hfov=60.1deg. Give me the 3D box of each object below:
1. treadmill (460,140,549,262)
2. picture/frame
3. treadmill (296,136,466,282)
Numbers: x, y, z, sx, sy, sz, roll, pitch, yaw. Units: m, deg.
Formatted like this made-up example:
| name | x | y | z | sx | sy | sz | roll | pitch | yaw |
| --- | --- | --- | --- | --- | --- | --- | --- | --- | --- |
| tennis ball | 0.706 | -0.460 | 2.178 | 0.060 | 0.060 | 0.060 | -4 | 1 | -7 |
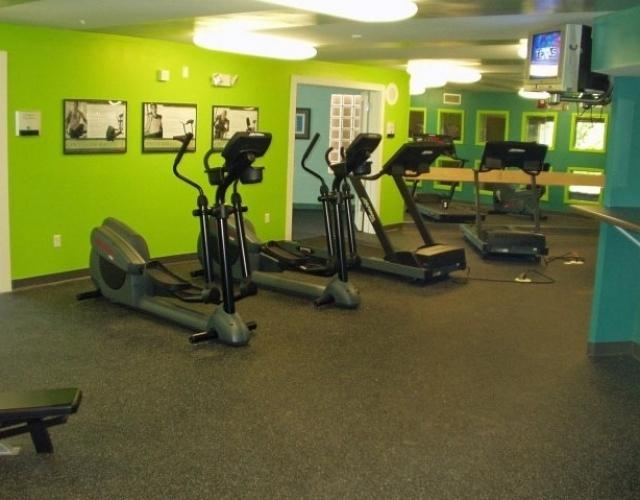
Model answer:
| name | x | y | z | sx | sy | sz | roll | pitch | yaw |
| --- | --- | --- | --- | --- | --- | --- | --- | --- | --- |
| treadmill | 3.068 | -0.930 | 9.050 | 1.194 | 1.658 | 2.775 | 5 | 14 | 14 |
| picture/frame | -2.001 | -1.505 | 6.853 | 0.132 | 0.629 | 2.364 | 16 | 20 | 43 |
| treadmill | 0.823 | -0.602 | 8.097 | 1.677 | 2.273 | 2.796 | -9 | 9 | -35 |
